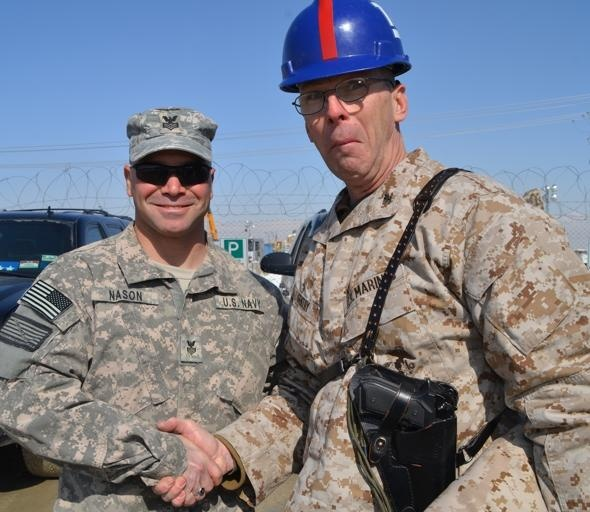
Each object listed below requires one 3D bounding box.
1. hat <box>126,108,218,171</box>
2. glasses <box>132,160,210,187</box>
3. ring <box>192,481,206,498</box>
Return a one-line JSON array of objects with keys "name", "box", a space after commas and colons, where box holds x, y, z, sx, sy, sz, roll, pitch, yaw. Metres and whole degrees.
[{"name": "hat", "box": [-0.530, -0.528, 2.613, 0.448, 0.192, 0.465, -7, 14, -29]}, {"name": "glasses", "box": [-0.507, -0.343, 2.486, 0.191, 0.045, 0.165, 1, -14, -10]}, {"name": "ring", "box": [-0.358, 0.879, 2.238, 0.052, 0.039, 0.018, 7, 13, -8]}]
